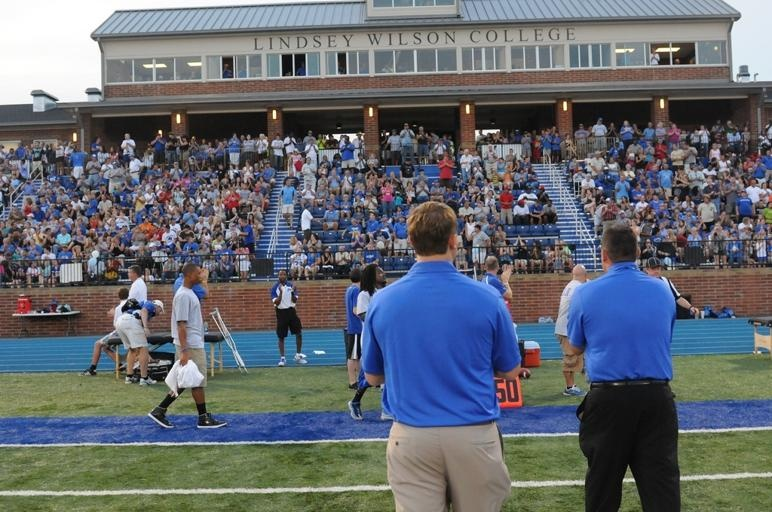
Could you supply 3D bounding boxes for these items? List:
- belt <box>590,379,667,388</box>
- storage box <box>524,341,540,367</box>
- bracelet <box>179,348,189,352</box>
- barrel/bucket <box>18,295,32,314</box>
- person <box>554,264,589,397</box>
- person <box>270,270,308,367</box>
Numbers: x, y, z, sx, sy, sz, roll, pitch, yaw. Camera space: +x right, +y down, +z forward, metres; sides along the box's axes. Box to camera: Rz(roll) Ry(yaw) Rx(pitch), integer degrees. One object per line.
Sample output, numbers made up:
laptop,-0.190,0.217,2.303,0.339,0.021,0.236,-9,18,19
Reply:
belt,8.244,4.256,57.969,2.547,0.218,0.187,-3,1,5
storage box,5.685,3.779,66.461,0.739,1.081,1.165,-1,-3,10
bracelet,-7.191,3.361,61.753,0.328,0.109,0.285,-3,1,-9
barrel/bucket,-15.364,2.070,73.503,0.617,0.737,0.522,-3,1,-13
person,6.841,2.693,63.302,1.340,4.399,1.121,-1,-1,9
person,-3.785,2.366,67.362,1.130,3.673,0.998,-6,-1,-4
